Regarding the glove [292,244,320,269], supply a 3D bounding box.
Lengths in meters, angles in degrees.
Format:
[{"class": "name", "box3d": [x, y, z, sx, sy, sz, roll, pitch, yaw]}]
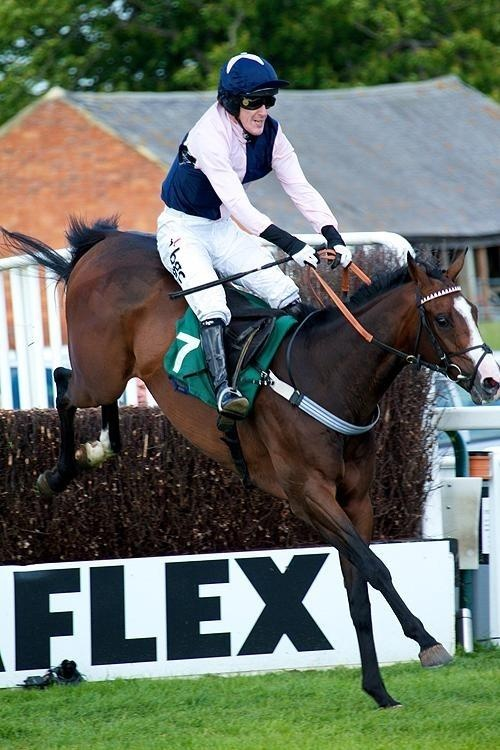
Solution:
[{"class": "glove", "box3d": [0.194, -0.412, 3.446, 0.100, 0.081, 0.039, -22, -38, 22]}]

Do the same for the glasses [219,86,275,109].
[{"class": "glasses", "box3d": [-0.016, -1.002, 3.550, 0.093, 0.035, 0.142, 1, 4, -37]}]

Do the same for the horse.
[{"class": "horse", "box3d": [0.028, 0.162, 3.710, 2.016, 1.503, 0.548, 2, 10, 36]}]

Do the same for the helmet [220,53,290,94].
[{"class": "helmet", "box3d": [0.016, -1.092, 3.552, 0.256, 0.115, 0.169, -2, 8, 28]}]

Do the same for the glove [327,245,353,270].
[{"class": "glove", "box3d": [0.325, -0.423, 3.504, 0.083, 0.081, 0.033, -2, 10, 0]}]
